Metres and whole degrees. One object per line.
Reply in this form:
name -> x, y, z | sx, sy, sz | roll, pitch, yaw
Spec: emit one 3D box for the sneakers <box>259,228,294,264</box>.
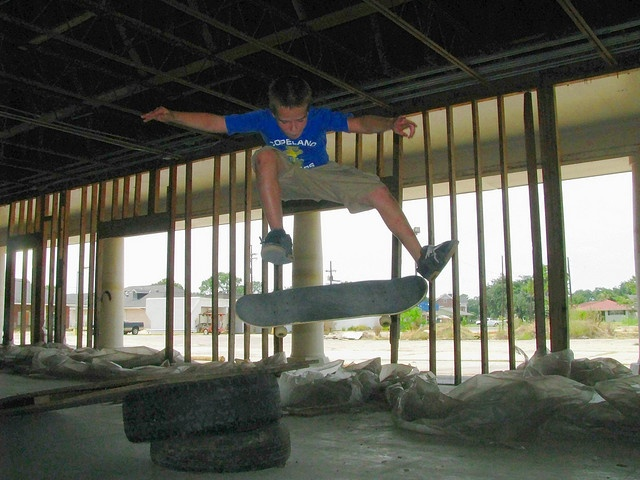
sneakers -> -0.412, 0.053, 5.754 | 0.219, 0.291, 0.427 | -2, -23, 5
